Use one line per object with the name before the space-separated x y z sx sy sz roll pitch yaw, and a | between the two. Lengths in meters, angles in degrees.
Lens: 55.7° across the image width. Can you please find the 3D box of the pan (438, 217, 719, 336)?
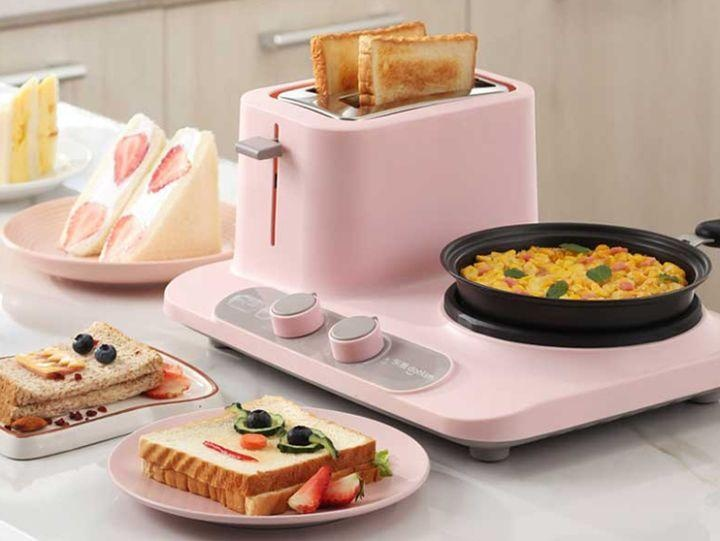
pan | 0.253 -0.015 0.698 0.268 0.030 0.144 -8 16 -26

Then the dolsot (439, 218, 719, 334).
dolsot | 0.230 0.003 0.721 0.253 0.078 0.209 3 17 25

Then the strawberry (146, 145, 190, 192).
strawberry | -0.297 -0.153 1.084 0.023 0.088 0.063 26 25 -46

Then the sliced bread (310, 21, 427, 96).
sliced bread | 0.023 -0.262 0.850 0.181 0.078 0.030 7 26 39

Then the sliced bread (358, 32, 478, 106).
sliced bread | 0.088 -0.253 0.860 0.164 0.076 0.029 9 27 38

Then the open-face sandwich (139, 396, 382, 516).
open-face sandwich | -0.095 0.132 0.560 0.114 0.026 0.120 20 24 41
